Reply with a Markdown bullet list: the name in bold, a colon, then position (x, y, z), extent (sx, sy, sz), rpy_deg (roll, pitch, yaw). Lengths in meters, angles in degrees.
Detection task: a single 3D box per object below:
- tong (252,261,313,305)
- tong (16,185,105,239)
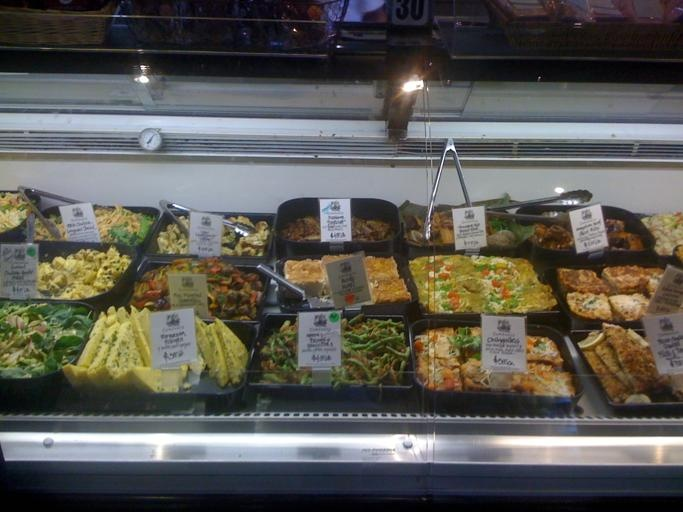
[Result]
- **tong**: position (-0.298, 0.127, 2.685), extent (0.289, 0.061, 0.063), rpy_deg (34, -35, -26)
- **tong**: position (-1.578, -0.266, 3.005), extent (0.400, 0.237, 0.068), rpy_deg (31, 23, -26)
